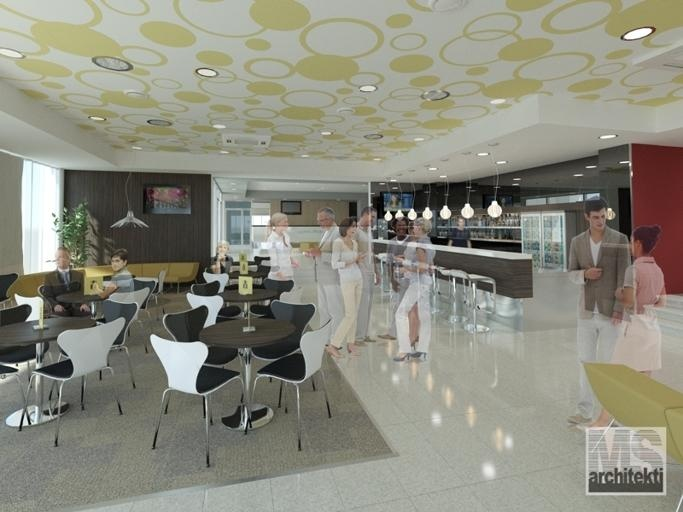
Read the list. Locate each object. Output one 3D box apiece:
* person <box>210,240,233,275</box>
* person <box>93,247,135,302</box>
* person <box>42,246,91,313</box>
[{"bbox_3d":[-2.612,0.031,9.881,0.409,0.729,0.370,-2,21,-39],"label":"person"},{"bbox_3d":[-3.227,0.339,6.548,0.468,0.794,0.393,-4,6,-14],"label":"person"},{"bbox_3d":[-3.748,0.366,6.183,0.540,0.931,0.559,-1,3,15],"label":"person"}]
